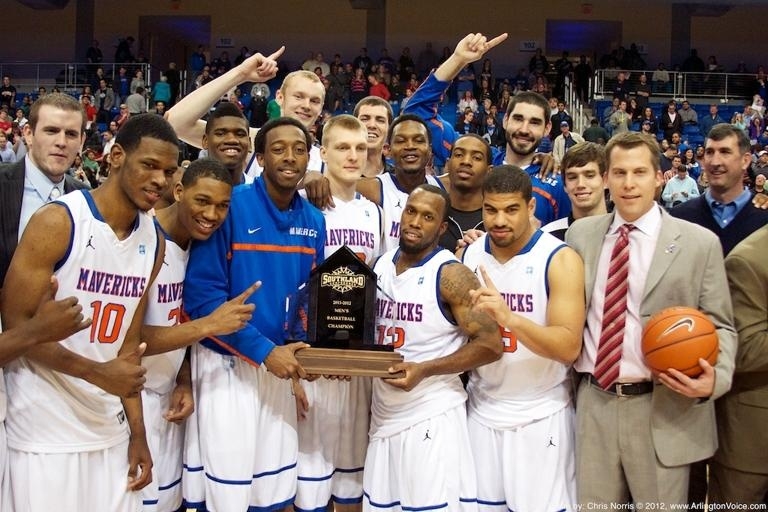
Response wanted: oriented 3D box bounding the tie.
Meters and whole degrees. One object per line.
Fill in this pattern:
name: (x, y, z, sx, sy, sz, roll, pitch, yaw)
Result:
tie: (1.798, 0.390, 5.713, 0.245, 1.277, 0.236, 1, -3, 28)
